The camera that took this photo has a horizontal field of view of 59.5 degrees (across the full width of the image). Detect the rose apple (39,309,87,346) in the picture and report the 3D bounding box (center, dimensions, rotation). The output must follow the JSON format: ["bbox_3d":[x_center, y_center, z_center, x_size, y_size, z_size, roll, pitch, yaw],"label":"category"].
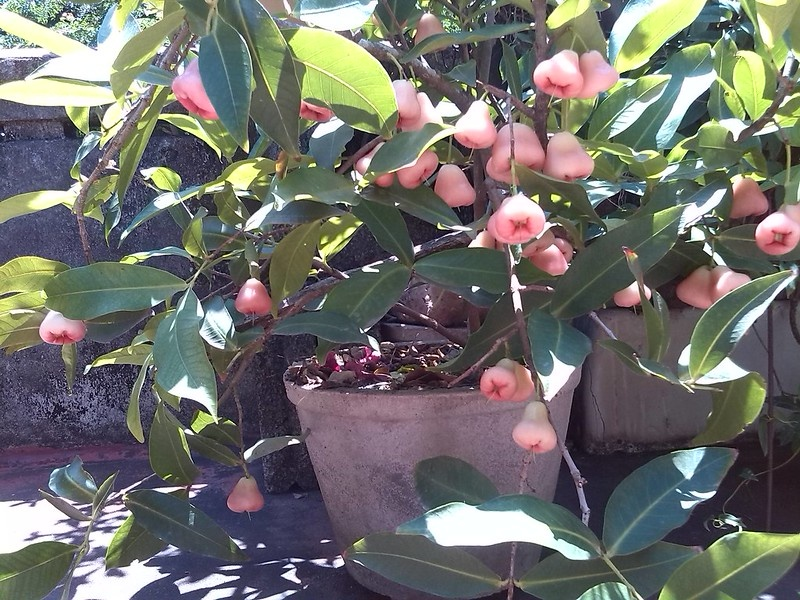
[{"bbox_3d":[-0.527,0.046,1.094,0.056,0.059,0.059,-1,2,3],"label":"rose apple"}]

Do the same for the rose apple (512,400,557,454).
[{"bbox_3d":[0.188,0.180,0.981,0.059,0.068,0.056,-4,12,-2],"label":"rose apple"}]

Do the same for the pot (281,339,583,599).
[{"bbox_3d":[0.060,0.346,1.406,0.491,0.373,0.507,-2,5,0],"label":"pot"}]
